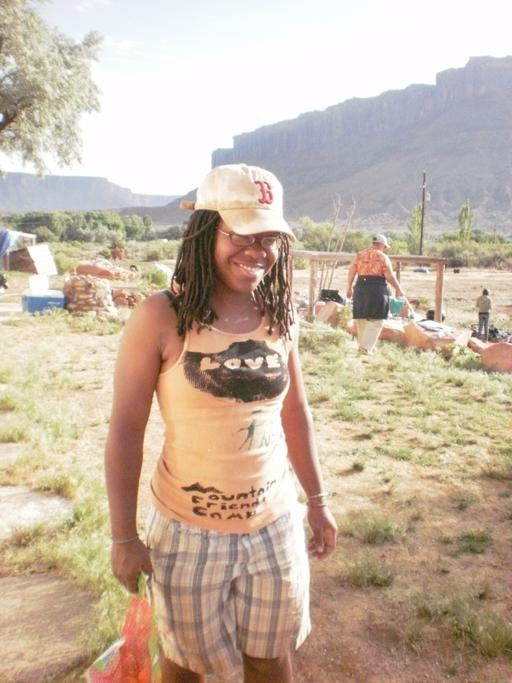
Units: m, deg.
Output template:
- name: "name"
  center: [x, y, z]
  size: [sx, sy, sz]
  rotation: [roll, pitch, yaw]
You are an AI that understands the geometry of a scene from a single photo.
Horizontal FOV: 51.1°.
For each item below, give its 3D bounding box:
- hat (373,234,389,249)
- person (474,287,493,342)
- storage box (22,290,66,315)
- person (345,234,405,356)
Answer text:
- name: "hat"
  center: [1.943, -1.577, 8.376]
  size: [0.199, 0.184, 0.491]
  rotation: [4, 10, 16]
- name: "person"
  center: [5.892, -0.791, 13.793]
  size: [0.315, 1.135, 2.514]
  rotation: [5, 10, 23]
- name: "storage box"
  center: [-4.858, -0.889, 12.166]
  size: [0.708, 0.317, 0.727]
  rotation: [3, 7, 16]
- name: "person"
  center: [1.834, -0.716, 8.459]
  size: [0.707, 1.920, 0.808]
  rotation: [-1, 10, -12]
